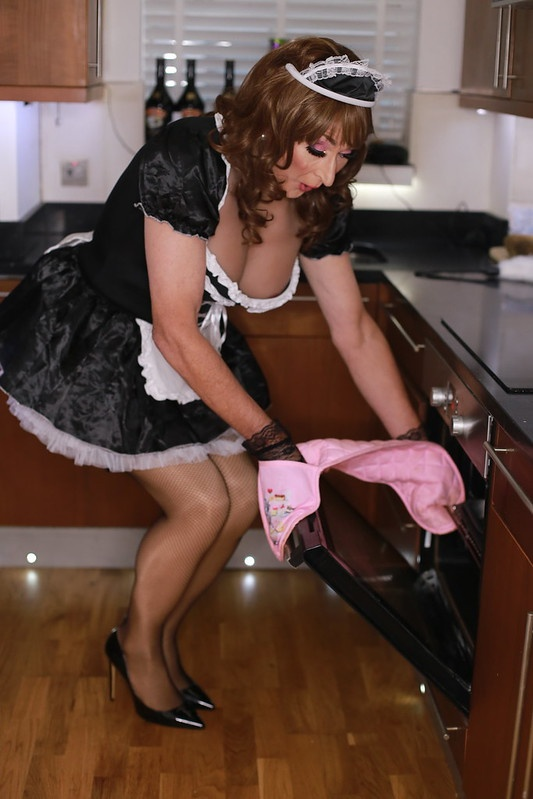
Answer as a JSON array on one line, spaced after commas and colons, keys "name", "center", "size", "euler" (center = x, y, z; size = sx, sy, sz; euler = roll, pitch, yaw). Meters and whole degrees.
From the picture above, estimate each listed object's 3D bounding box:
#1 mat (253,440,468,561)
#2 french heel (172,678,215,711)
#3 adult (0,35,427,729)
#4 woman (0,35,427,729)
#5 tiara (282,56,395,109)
[{"name": "mat", "center": [0.132, 0.145, 0.930], "size": [0.240, 0.078, 0.177], "euler": [-1, 43, -9]}, {"name": "french heel", "center": [-0.155, 0.602, 1.363], "size": [0.036, 0.034, 0.105], "euler": [13, 22, -50]}, {"name": "adult", "center": [-0.119, 0.068, 1.160], "size": [0.722, 1.200, 0.440], "euler": [7, 11, 28]}, {"name": "woman", "center": [-0.119, 0.068, 1.160], "size": [0.723, 1.200, 0.440], "euler": [7, 11, 28]}, {"name": "tiara", "center": [0.100, -0.387, 0.787], "size": [0.069, 0.035, 0.096], "euler": [7, 22, -31]}]
